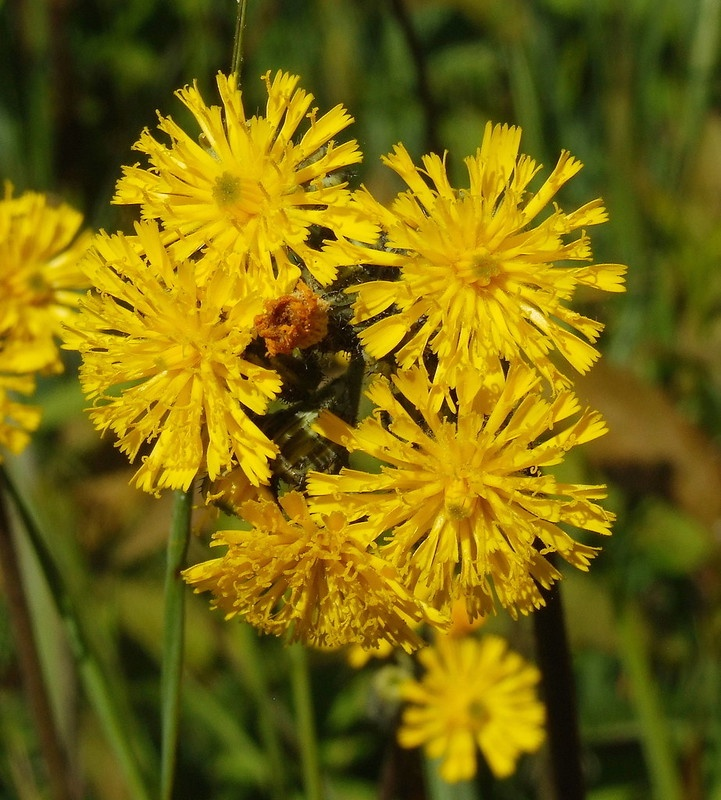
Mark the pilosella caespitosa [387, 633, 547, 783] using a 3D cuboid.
[{"bbox_3d":[0.129,0.352,1.072,0.161,0.095,0.150,-7,75,2],"label":"pilosella caespitosa"}]

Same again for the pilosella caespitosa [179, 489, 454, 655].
[{"bbox_3d":[-0.058,0.125,0.862,0.269,0.262,0.089,-17,87,-3],"label":"pilosella caespitosa"}]

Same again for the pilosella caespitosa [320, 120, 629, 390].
[{"bbox_3d":[0.119,-0.151,0.827,0.276,0.252,0.076,7,75,14],"label":"pilosella caespitosa"}]

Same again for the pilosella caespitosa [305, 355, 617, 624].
[{"bbox_3d":[0.087,0.083,0.805,0.261,0.132,0.207,-2,76,3],"label":"pilosella caespitosa"}]

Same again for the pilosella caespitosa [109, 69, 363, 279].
[{"bbox_3d":[-0.093,-0.230,0.845,0.205,0.187,0.065,0,86,-6],"label":"pilosella caespitosa"}]
